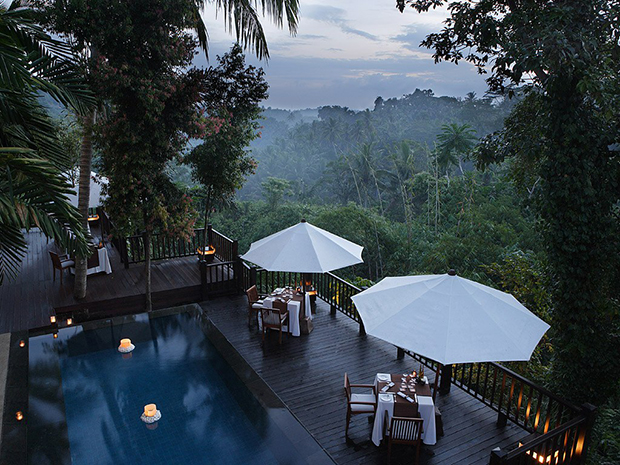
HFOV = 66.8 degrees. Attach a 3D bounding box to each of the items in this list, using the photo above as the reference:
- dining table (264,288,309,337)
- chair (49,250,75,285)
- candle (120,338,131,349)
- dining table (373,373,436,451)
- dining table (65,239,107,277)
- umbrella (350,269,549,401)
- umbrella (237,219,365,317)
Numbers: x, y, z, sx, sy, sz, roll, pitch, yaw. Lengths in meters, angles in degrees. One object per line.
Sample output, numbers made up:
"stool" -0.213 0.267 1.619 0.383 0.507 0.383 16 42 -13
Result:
"dining table" -0.600 2.116 12.789 1.087 0.856 1.501 5 8 10
"chair" -7.382 1.089 13.986 0.540 1.044 0.600 21 25 37
"candle" -4.671 2.816 11.905 0.202 0.117 0.205 -14 14 -38
"dining table" 1.863 3.716 9.358 0.957 0.786 1.357 2 11 5
"dining table" -6.764 0.929 14.817 0.963 0.679 1.096 -13 4 13
"umbrella" 2.645 1.569 8.835 3.241 1.199 1.437 2 15 11
"umbrella" -0.151 0.402 11.997 2.779 1.226 1.266 -1 15 1
